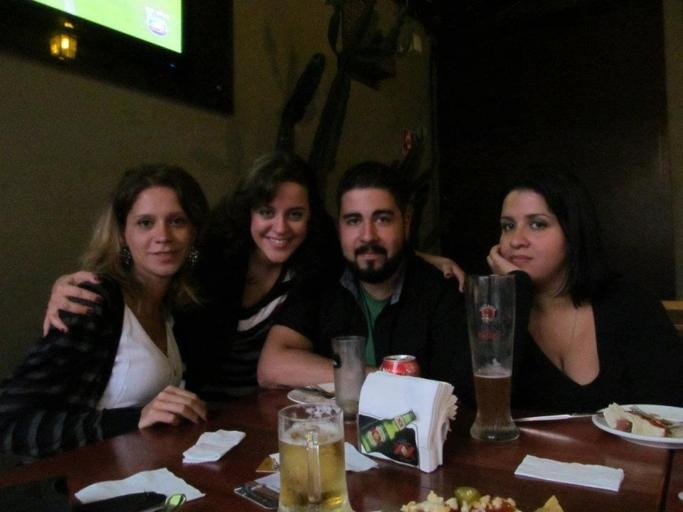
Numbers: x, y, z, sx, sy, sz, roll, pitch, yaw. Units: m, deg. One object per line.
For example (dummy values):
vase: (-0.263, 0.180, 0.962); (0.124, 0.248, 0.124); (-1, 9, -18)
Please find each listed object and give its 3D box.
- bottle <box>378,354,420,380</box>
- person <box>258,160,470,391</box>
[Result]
bottle: (0.177, 0.330, 1.650); (0.072, 0.071, 0.074); (0, -12, 2)
person: (0.116, 0.061, 2.417); (0.928, 0.987, 0.722); (-1, 2, -10)
